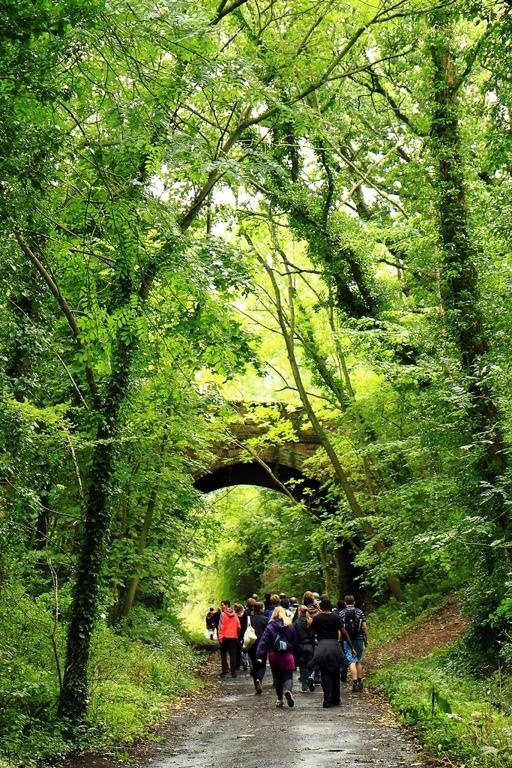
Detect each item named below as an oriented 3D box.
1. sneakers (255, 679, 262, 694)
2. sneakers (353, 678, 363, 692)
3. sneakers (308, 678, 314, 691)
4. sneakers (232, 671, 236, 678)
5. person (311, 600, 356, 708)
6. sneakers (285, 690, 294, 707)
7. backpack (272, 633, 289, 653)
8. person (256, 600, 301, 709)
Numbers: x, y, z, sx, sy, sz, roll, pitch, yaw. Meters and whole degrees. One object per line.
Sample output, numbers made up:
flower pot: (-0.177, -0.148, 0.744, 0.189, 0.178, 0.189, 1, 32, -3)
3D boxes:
sneakers: (0.028, 4.732, 11.739, 0.091, 0.232, 0.105, -2, -4, 0)
sneakers: (1.585, 4.799, 12.021, 0.125, 0.222, 0.241, 1, -10, 2)
sneakers: (0.881, 4.894, 12.273, 0.096, 0.227, 0.101, -2, -5, 2)
sneakers: (-0.446, 5.823, 15.061, 0.059, 0.111, 0.119, 0, -41, -6)
person: (0.967, 3.671, 10.330, 0.448, 1.400, 0.465, 1, -16, 4)
sneakers: (0.432, 4.217, 10.064, 0.105, 0.260, 0.116, -10, -5, -6)
backpack: (0.316, 3.579, 10.398, 0.230, 0.288, 0.157, 13, -25, -34)
person: (0.275, 3.813, 10.612, 0.541, 1.316, 1.042, 2, -16, 1)
